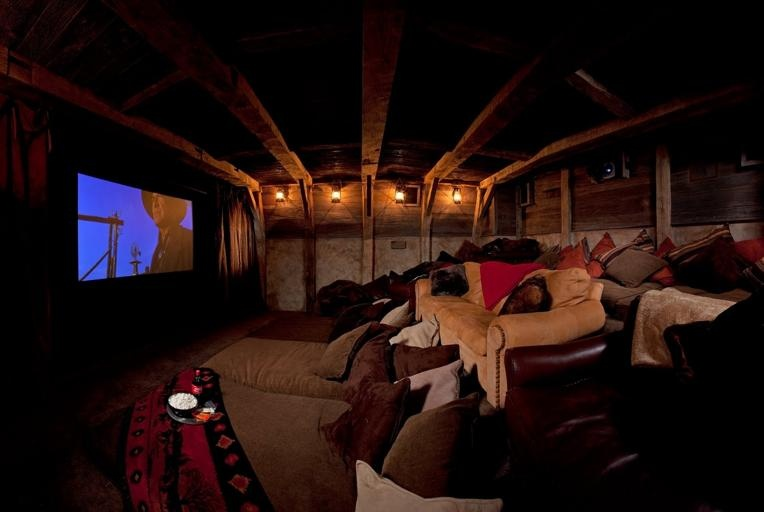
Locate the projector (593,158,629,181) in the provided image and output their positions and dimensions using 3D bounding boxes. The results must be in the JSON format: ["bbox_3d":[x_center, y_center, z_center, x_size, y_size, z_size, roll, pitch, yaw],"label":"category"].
[{"bbox_3d":[2.865,-1.082,5.943,0.243,0.302,0.418,2,-2,-26],"label":"projector"}]

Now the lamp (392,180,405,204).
[{"bbox_3d":[0.292,-1.075,7.881,0.197,0.366,0.361,-3,-1,10],"label":"lamp"}]

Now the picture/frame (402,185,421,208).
[{"bbox_3d":[0.486,-1.032,8.009,0.399,0.419,0.030,0,2,-17],"label":"picture/frame"}]

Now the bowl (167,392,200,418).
[{"bbox_3d":[-1.758,1.293,4.219,0.204,0.081,0.205,18,-4,1],"label":"bowl"}]

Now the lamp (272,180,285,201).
[{"bbox_3d":[-1.694,-1.084,8.015,0.201,0.290,0.335,-2,-2,-13],"label":"lamp"}]

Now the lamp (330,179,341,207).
[{"bbox_3d":[-0.753,-1.081,7.889,0.182,0.339,0.340,-3,-1,-6],"label":"lamp"}]
